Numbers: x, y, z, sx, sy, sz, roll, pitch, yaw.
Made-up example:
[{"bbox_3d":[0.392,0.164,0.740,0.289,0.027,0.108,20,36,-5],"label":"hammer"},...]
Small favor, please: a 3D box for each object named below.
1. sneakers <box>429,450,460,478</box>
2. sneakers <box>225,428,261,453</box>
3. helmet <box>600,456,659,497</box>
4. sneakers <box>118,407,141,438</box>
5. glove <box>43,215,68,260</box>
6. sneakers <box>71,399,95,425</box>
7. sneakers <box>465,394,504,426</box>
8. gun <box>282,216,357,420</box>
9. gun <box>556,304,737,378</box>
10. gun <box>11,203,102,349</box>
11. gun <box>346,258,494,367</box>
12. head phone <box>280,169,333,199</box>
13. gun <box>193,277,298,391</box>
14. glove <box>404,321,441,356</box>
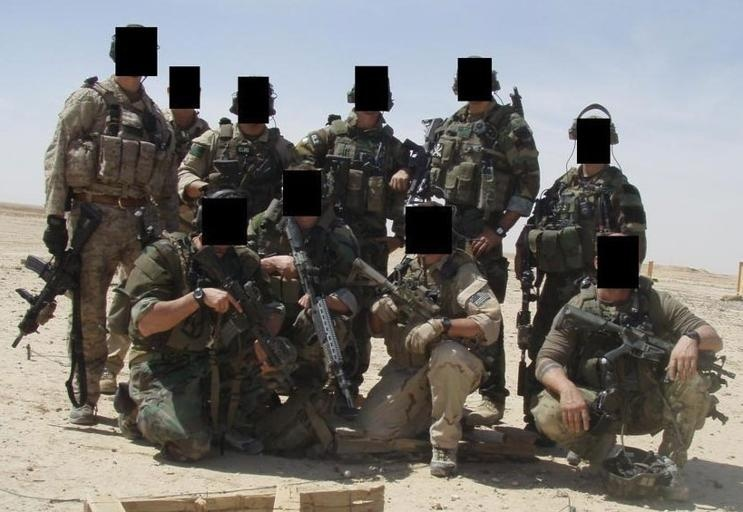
[{"bbox_3d":[0.788,2.176,10.287,0.341,0.283,0.257,1,9,-13],"label":"sneakers"},{"bbox_3d":[-1.422,2.048,10.651,0.359,0.116,0.220,22,17,5],"label":"sneakers"},{"bbox_3d":[2.595,2.277,9.928,0.312,0.221,0.440,4,16,-5],"label":"helmet"},{"bbox_3d":[-2.649,1.845,10.571,0.220,0.139,0.315,14,47,-25],"label":"sneakers"},{"bbox_3d":[-3.473,-0.216,10.676,0.287,0.422,0.156,1,15,-22],"label":"glove"},{"bbox_3d":[-3.206,1.757,10.811,0.346,0.248,0.230,-3,10,-35],"label":"sneakers"},{"bbox_3d":[1.323,1.847,11.458,0.224,0.310,0.690,6,-9,24],"label":"sneakers"},{"bbox_3d":[-0.603,0.731,10.954,0.224,2.270,0.709,-13,-14,-20],"label":"gun"},{"bbox_3d":[2.817,0.944,10.121,1.798,0.792,0.272,12,-20,-15],"label":"gun"},{"bbox_3d":[-3.502,0.217,10.791,0.949,1.607,0.465,0,9,-21],"label":"gun"},{"bbox_3d":[0.692,0.539,10.623,1.431,1.036,0.662,51,10,9],"label":"gun"},{"bbox_3d":[-0.823,-0.855,11.346,0.454,0.485,0.244,-1,27,-7],"label":"head phone"},{"bbox_3d":[-1.303,0.846,10.621,0.940,1.276,0.530,2,8,-6],"label":"gun"},{"bbox_3d":[0.604,0.891,10.581,0.187,0.392,0.310,34,26,-37],"label":"glove"}]
